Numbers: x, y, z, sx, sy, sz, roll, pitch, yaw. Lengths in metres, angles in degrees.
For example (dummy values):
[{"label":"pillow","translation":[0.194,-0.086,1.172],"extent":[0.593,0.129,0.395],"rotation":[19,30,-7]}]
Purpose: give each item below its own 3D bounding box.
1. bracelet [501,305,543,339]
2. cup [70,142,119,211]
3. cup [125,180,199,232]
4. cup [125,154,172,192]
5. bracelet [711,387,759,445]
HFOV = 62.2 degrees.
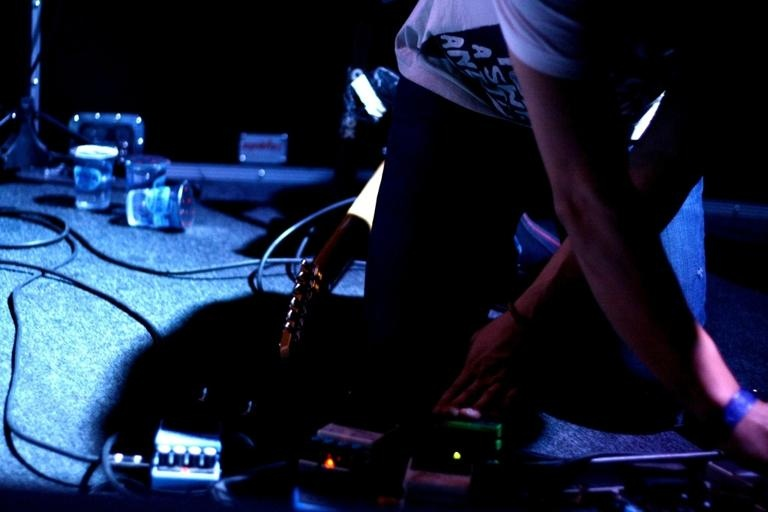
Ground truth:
[{"label":"bracelet","translation":[0.231,0.112,1.063],"extent":[0.062,0.014,0.037],"rotation":[45,60,-3]},{"label":"cup","translation":[-0.744,-0.206,1.625],"extent":[0.092,0.157,0.154],"rotation":[0,22,-24]},{"label":"cup","translation":[-0.530,-0.117,1.565],"extent":[0.170,0.130,0.143],"rotation":[1,5,4]},{"label":"cup","translation":[-0.613,-0.216,1.639],"extent":[0.096,0.068,0.097],"rotation":[3,13,-1]},{"label":"bracelet","translation":[0.421,0.195,0.771],"extent":[0.050,0.069,0.030],"rotation":[-6,26,-37]}]
